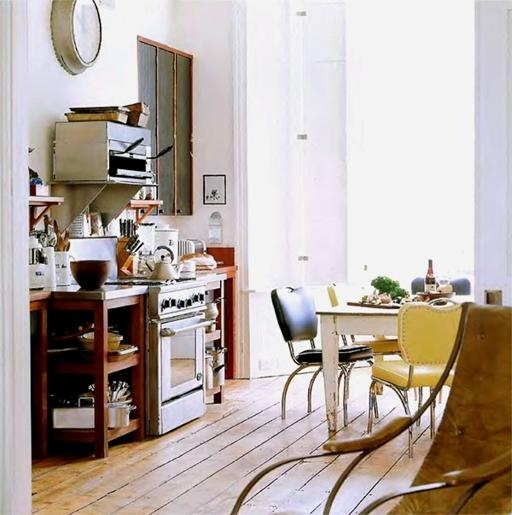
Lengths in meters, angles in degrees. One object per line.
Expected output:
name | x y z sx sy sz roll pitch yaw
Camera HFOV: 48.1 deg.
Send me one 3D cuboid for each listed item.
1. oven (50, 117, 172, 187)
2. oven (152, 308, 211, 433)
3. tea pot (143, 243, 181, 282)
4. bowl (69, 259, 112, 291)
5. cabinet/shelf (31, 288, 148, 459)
oven | -1.077 -0.676 3.978 0.572 0.380 0.475 0 1 16
oven | -0.621 0.774 3.968 0.456 0.719 0.546 2 3 36
tea pot | -0.687 0.048 4.165 0.205 0.288 0.285 3 -7 -8
bowl | -0.990 0.102 3.435 0.163 0.149 0.178 0 -1 0
cabinet/shelf | -1.002 0.649 3.703 0.693 1.372 0.779 0 1 18
